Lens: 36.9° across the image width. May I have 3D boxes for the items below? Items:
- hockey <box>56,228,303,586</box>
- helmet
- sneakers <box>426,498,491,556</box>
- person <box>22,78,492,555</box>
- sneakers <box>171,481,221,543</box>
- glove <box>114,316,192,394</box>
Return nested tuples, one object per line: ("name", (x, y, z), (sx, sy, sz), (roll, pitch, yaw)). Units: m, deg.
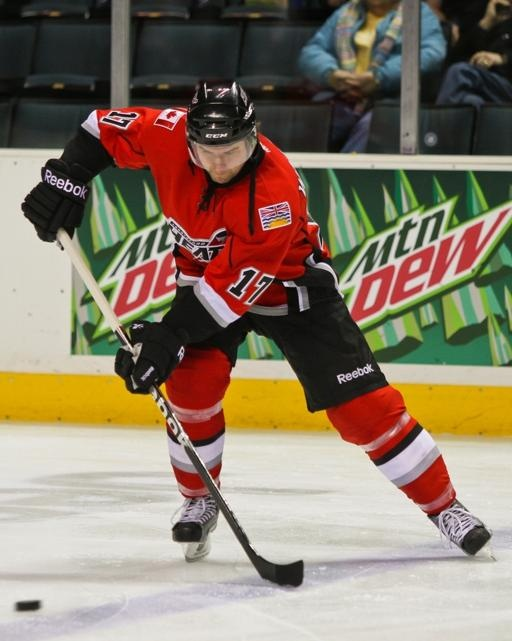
("hockey", (-0.197, 0.264, 2.203), (0.099, 1.274, 0.230), (-44, 6, 37))
("helmet", (-0.064, -0.411, 1.558), (0.169, 0.142, 0.192), (-1, 12, 4))
("sneakers", (0.460, 0.461, 1.727), (0.054, 0.064, 0.161), (-45, 20, -4))
("person", (0.103, -0.012, 2.477), (1.803, 1.475, 0.915), (5, 26, 20))
("sneakers", (-0.139, 0.454, 1.758), (0.063, 0.057, 0.158), (1, -2, 4))
("glove", (-0.227, 0.078, 1.615), (0.069, 0.157, 0.173), (27, 12, -49))
